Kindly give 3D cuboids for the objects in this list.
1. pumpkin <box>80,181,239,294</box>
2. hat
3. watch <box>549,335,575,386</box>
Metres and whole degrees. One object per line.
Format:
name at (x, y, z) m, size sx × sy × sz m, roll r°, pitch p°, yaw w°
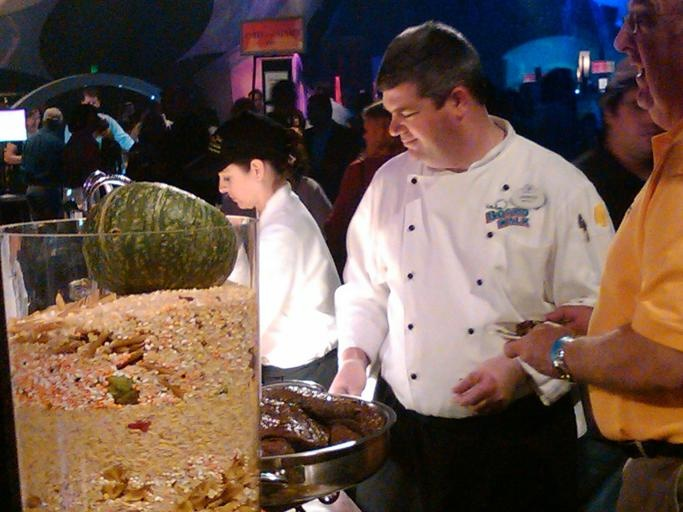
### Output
pumpkin at (-0.210, -0.030, 0.774) m, size 0.203 × 0.149 × 0.196 m, roll -8°, pitch 5°, yaw -39°
hat at (-0.410, -0.446, 2.472) m, size 0.397 × 0.221 × 0.274 m, roll -7°, pitch 12°, yaw -8°
watch at (0.565, 0.270, 1.572) m, size 0.029 × 0.100 × 0.100 m, roll 3°, pitch 38°, yaw 10°
